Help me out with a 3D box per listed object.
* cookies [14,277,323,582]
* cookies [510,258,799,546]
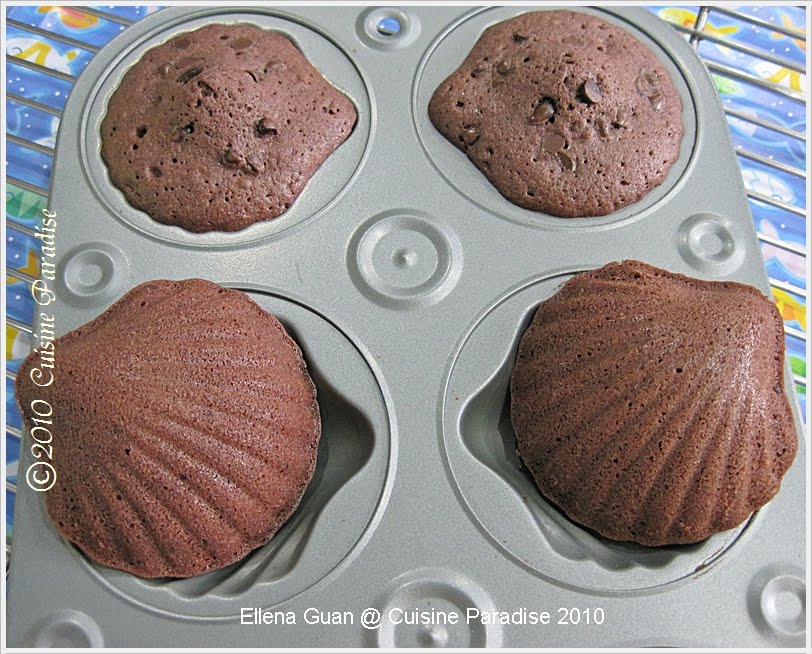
[{"bbox_3d":[-0.345,0.146,1.249,0.450,0.188,0.417,-31,74,-16],"label":"cookies"},{"bbox_3d":[0.379,0.105,1.276,0.403,0.231,0.442,-9,69,-9],"label":"cookies"}]
